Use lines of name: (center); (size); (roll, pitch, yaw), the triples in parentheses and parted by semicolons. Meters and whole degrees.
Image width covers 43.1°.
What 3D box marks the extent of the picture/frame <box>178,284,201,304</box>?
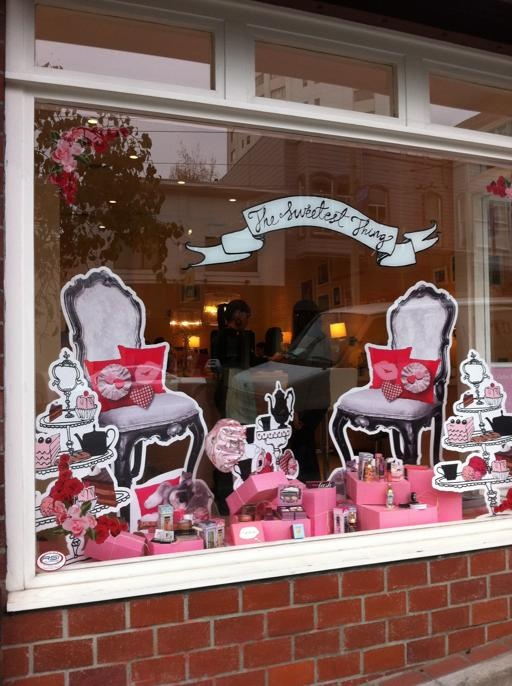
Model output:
picture/frame: (-0.291, -0.219, 2.935); (0.114, 0.099, 0.078); (2, -8, -17)

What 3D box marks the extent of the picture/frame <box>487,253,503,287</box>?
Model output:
picture/frame: (1.318, -0.399, 3.571); (0.100, 0.167, 0.030); (-5, 6, -36)

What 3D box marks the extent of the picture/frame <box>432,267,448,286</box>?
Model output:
picture/frame: (0.966, -0.351, 3.421); (0.105, 0.107, 0.015); (4, 2, -22)

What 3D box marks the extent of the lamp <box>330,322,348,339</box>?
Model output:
lamp: (0.406, -0.057, 3.214); (0.090, 0.088, 0.084); (-3, 8, 3)
